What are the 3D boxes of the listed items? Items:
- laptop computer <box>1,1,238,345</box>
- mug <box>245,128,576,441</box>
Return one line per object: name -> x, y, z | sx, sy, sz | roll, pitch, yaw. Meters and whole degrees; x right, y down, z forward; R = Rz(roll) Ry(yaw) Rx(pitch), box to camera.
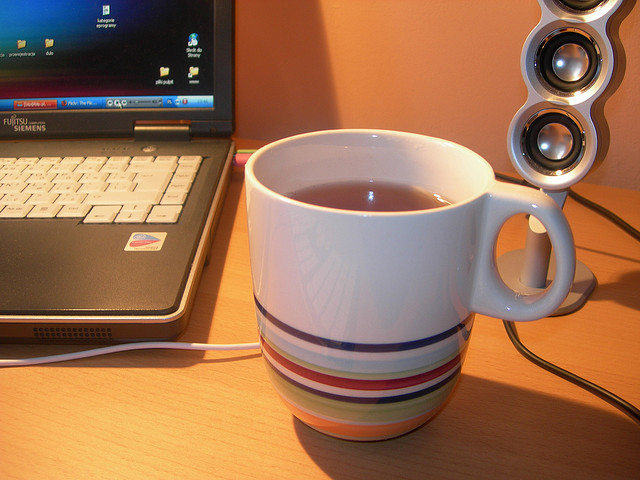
laptop computer -> -0.205, -0.080, 0.543 | 0.252, 0.228, 0.269 | 3, 43, -3
mug -> 0.044, 0.025, 0.347 | 0.173, 0.162, 0.131 | -7, 32, -13
